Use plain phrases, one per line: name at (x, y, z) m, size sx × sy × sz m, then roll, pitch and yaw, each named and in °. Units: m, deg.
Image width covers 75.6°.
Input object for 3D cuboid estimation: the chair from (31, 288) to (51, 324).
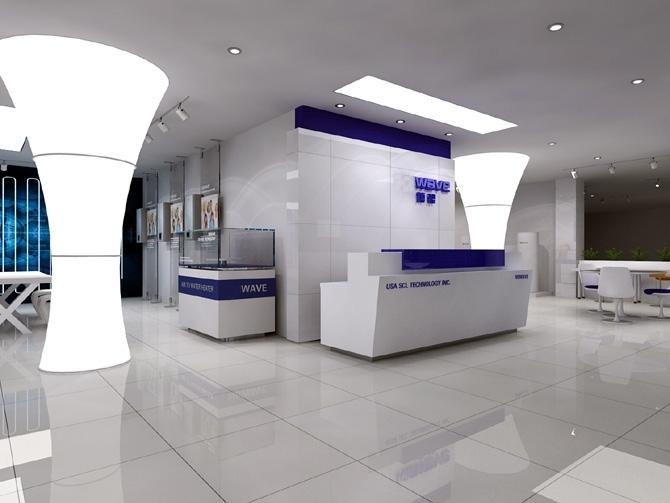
chair at (-6.220, 1.149, 9.022) m, size 0.501 × 0.678 × 0.758 m, roll 2°, pitch -1°, yaw -26°
